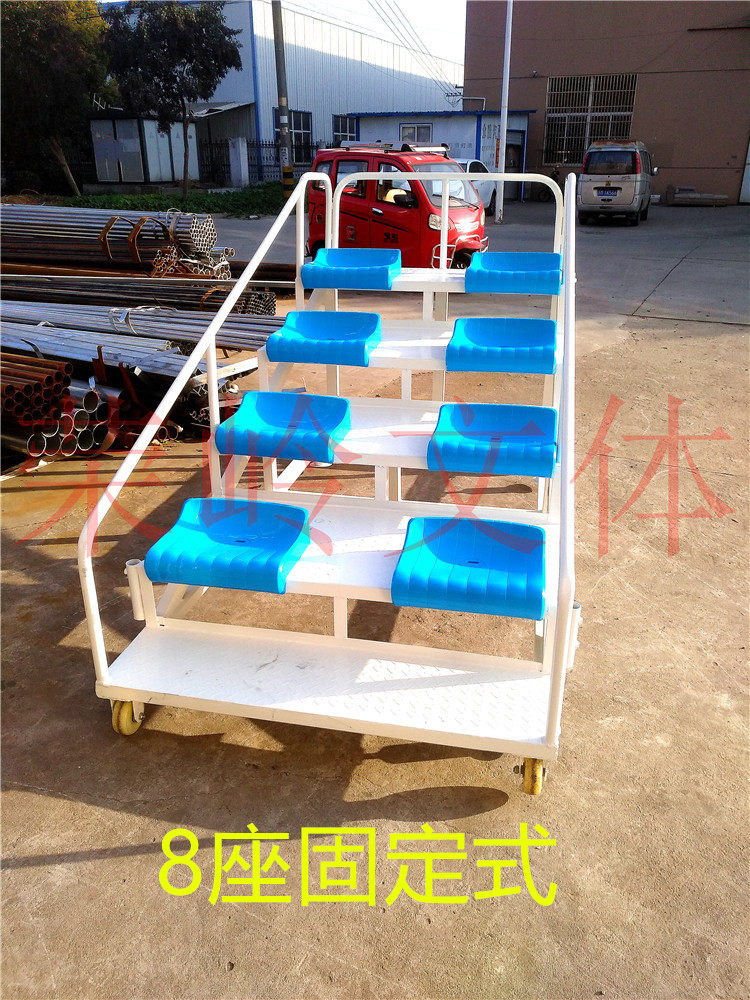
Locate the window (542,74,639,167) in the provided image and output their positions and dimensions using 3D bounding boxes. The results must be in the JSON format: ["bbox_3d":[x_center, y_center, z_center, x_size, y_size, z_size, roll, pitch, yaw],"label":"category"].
[{"bbox_3d":[7.191,-12.606,23.848,3.037,2.859,0.203,1,9,6],"label":"window"}]

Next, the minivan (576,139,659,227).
[{"bbox_3d":[5.803,-7.531,16.949,1.578,1.344,2.629,6,34,19],"label":"minivan"}]

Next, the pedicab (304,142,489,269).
[{"bbox_3d":[0.424,-3.917,9.865,2.301,1.602,1.635,19,32,36],"label":"pedicab"}]

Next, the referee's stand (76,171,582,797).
[{"bbox_3d":[-0.010,-0.077,2.794,1.618,1.388,1.834,6,25,13],"label":"referee's stand"}]
